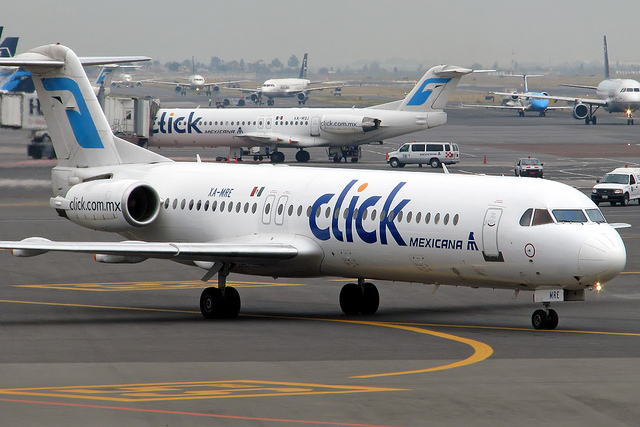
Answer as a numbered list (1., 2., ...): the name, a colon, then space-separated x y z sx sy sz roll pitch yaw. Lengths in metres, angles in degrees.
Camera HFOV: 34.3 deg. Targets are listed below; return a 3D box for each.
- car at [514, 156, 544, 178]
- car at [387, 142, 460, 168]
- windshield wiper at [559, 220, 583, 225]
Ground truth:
1. car: 15.057 -3.270 74.139 2.081 1.065 2.694 0 0 -1
2. car: 8.114 -4.596 82.616 5.716 1.476 2.420 1 4 4
3. windshield wiper: 7.556 0.271 30.949 0.710 0.060 0.093 -1 9 -10
